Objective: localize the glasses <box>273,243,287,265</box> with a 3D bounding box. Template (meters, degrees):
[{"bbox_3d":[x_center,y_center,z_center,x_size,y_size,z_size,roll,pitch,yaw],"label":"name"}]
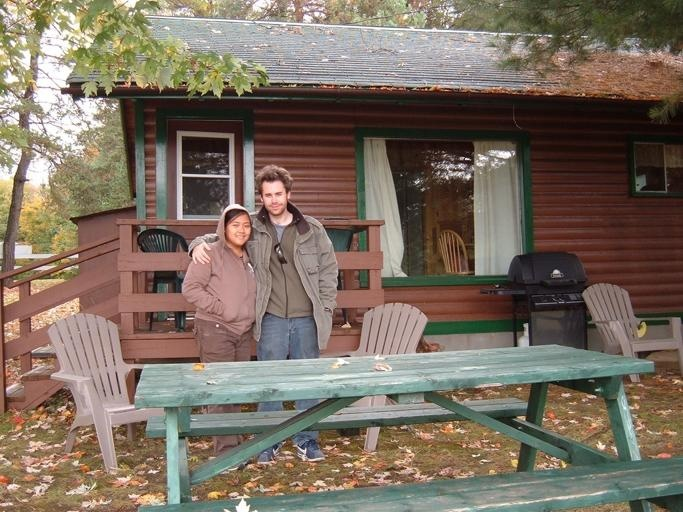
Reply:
[{"bbox_3d":[-0.551,-0.025,5.295,0.120,0.182,0.046,-32,-8,1],"label":"glasses"}]

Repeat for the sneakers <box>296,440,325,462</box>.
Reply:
[{"bbox_3d":[-0.285,1.750,5.359,0.218,0.108,0.258,3,0,-4],"label":"sneakers"}]

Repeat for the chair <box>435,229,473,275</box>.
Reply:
[{"bbox_3d":[1.662,-0.060,8.824,0.458,0.643,0.189,-3,7,-24],"label":"chair"}]
